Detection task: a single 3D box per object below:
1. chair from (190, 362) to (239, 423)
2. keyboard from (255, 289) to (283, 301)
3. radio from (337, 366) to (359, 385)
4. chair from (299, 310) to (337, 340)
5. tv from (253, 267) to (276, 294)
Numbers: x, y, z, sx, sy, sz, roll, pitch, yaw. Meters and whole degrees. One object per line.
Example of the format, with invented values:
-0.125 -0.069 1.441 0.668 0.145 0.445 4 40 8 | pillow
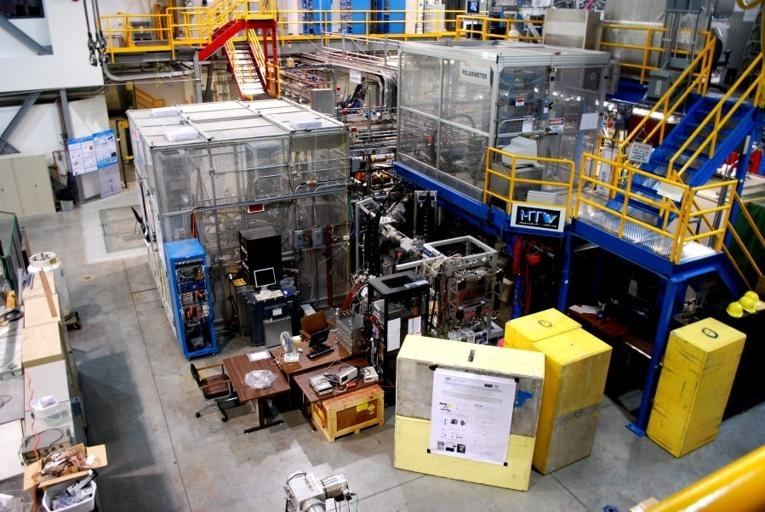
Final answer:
-3.284 2.608 11.513 0.952 0.964 0.930 -9 17 -19 | chair
-2.484 0.841 12.672 0.589 0.077 0.389 -4 25 -8 | keyboard
-0.688 2.210 10.929 0.395 0.180 0.275 -17 27 -40 | radio
-1.413 1.464 12.406 0.595 0.725 0.554 -21 36 -32 | chair
-2.630 0.519 12.803 0.512 0.514 0.175 -11 24 -34 | tv
